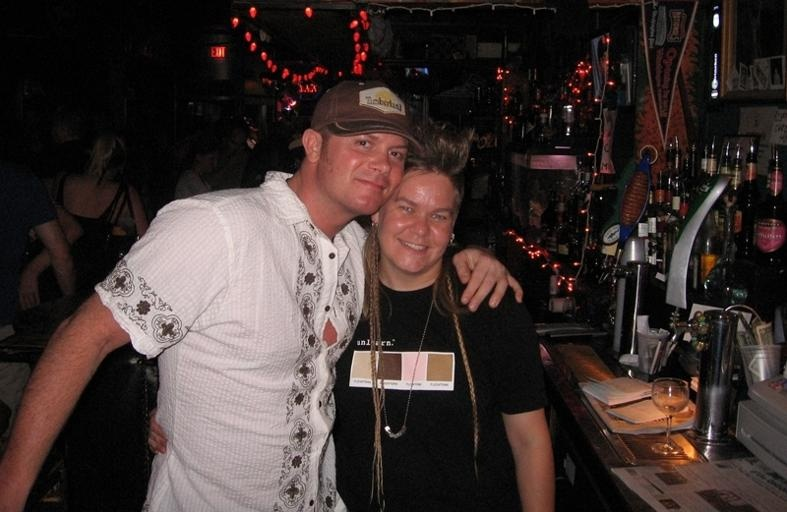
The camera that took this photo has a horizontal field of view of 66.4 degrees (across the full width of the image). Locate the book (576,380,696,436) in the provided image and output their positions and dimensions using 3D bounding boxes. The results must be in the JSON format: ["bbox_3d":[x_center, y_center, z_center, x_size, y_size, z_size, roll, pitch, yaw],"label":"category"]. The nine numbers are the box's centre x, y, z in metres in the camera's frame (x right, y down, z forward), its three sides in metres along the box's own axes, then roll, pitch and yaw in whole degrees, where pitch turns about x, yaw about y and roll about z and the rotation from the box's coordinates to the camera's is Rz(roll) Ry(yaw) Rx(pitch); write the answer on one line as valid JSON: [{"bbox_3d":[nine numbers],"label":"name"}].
[{"bbox_3d":[1.204,0.764,3.091,0.309,0.044,0.288,-3,19,-1],"label":"book"}]

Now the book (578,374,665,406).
[{"bbox_3d":[1.184,0.698,3.193,0.202,0.040,0.183,-8,10,-20],"label":"book"}]

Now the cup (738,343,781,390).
[{"bbox_3d":[1.789,0.521,2.925,0.209,0.228,0.210,0,-3,0],"label":"cup"}]

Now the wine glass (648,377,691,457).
[{"bbox_3d":[1.345,0.757,2.940,0.159,0.315,0.332,6,8,24],"label":"wine glass"}]

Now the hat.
[{"bbox_3d":[-0.111,-0.693,2.914,0.472,0.319,0.613,4,7,-28],"label":"hat"}]
